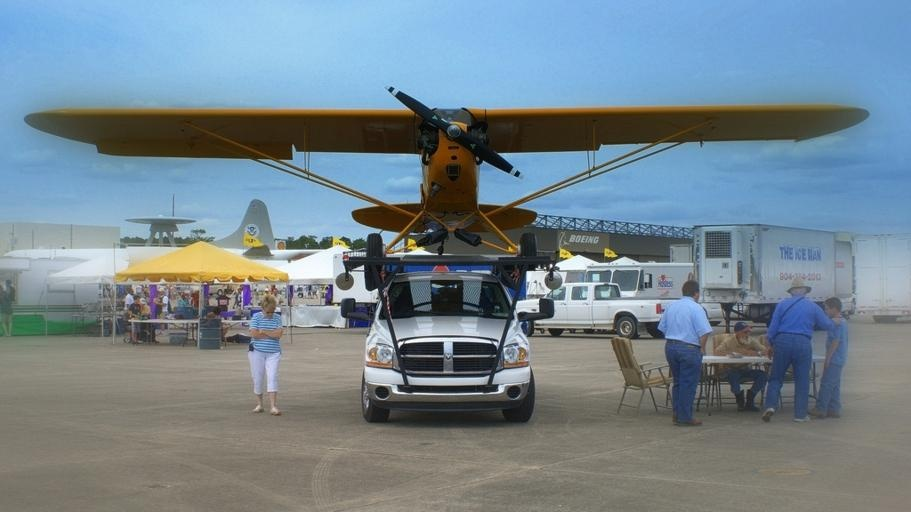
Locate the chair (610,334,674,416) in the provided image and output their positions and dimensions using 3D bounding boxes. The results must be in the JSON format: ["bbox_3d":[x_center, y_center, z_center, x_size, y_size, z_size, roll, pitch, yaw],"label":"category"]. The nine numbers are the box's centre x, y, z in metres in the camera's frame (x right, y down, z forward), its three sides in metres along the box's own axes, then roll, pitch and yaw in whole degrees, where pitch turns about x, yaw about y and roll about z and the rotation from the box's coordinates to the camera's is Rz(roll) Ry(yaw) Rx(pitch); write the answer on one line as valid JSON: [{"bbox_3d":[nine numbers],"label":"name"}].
[{"bbox_3d":[4.213,2.650,18.066,1.506,1.854,1.389,1,-3,-12],"label":"chair"}]

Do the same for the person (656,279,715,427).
[{"bbox_3d":[4.751,2.006,16.700,0.795,2.861,0.661,-2,5,-8],"label":"person"}]

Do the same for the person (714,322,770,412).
[{"bbox_3d":[6.427,2.433,18.131,1.233,1.672,1.241,1,1,27],"label":"person"}]

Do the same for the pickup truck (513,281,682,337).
[{"bbox_3d":[5.497,2.301,32.446,6.716,2.236,2.974,1,-2,-26],"label":"pickup truck"}]

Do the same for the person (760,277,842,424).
[{"bbox_3d":[7.132,1.939,16.884,1.501,2.704,1.213,1,-1,-33],"label":"person"}]

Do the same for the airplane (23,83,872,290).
[{"bbox_3d":[-0.214,-2.118,25.429,23.204,4.372,14.007,0,8,-1],"label":"airplane"}]

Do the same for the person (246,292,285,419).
[{"bbox_3d":[-4.161,2.125,17.795,0.672,2.556,0.962,-2,5,-14],"label":"person"}]
